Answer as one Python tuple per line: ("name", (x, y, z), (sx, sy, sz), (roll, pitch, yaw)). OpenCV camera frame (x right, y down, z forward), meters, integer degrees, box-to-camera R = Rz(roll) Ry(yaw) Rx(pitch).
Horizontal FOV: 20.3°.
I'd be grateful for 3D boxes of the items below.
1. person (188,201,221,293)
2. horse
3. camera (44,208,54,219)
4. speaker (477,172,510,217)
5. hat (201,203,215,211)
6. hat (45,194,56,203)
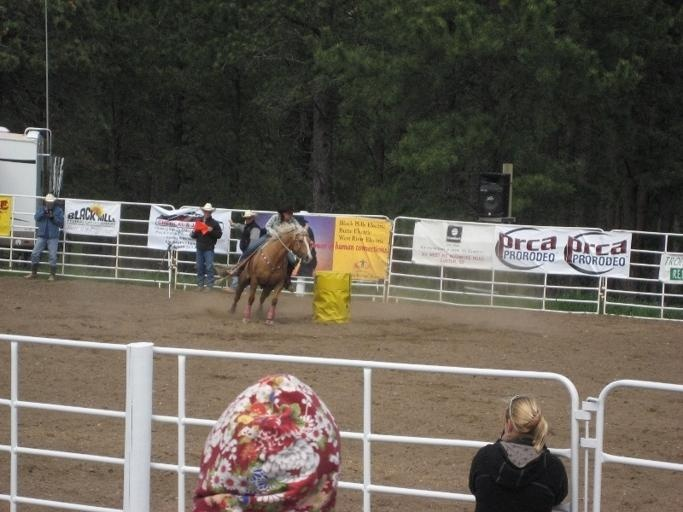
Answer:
("person", (-3.750, -0.386, 52.200), (0.749, 2.327, 0.684), (3, 3, 20))
("horse", (-1.819, 0.075, 49.027), (1.801, 2.736, 1.699), (-6, 13, -30))
("camera", (-8.018, -1.310, 52.291), (0.185, 0.295, 0.118), (1, 9, 2))
("speaker", (4.114, -1.688, 52.029), (0.769, 1.380, 0.690), (-1, -19, 16))
("hat", (-3.798, -1.549, 54.439), (0.362, 0.190, 0.446), (1, -3, -8))
("hat", (-7.986, -1.725, 52.123), (0.303, 0.233, 0.209), (0, 5, -5))
